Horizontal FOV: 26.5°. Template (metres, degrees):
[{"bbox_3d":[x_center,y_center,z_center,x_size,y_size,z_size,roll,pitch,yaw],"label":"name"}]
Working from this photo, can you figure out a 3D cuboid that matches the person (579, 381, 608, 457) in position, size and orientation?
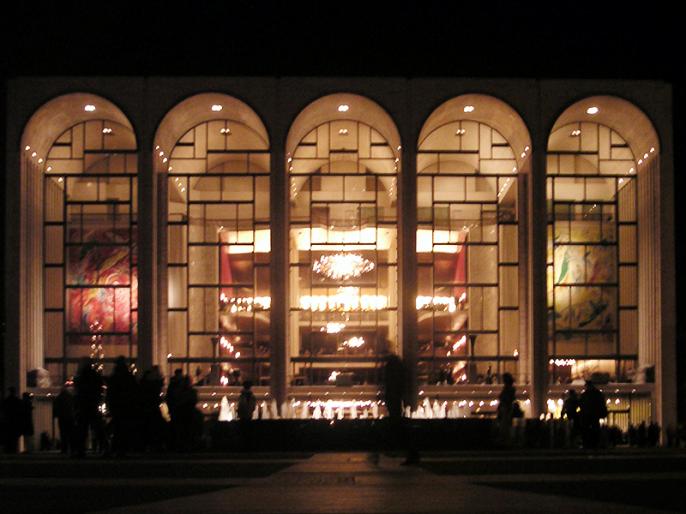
[{"bbox_3d":[8.213,5.174,47.860,0.918,2.168,1.179,-4,-7,9],"label":"person"}]

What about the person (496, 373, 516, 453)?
[{"bbox_3d":[5.244,4.938,47.267,0.461,2.363,0.803,-10,-10,43],"label":"person"}]

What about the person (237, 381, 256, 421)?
[{"bbox_3d":[-3.121,4.586,46.734,0.537,1.283,1.063,-2,-7,-4],"label":"person"}]
